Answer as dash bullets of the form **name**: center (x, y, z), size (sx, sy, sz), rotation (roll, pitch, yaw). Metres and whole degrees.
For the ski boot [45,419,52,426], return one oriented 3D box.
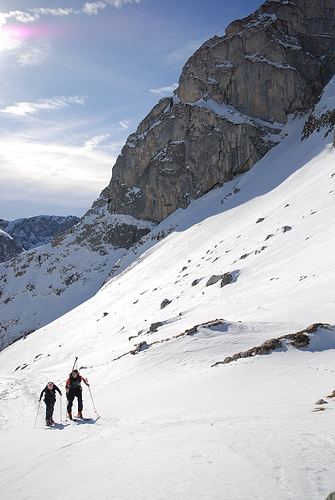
- **ski boot**: center (-5.991, 8.667, 32.771), size (0.339, 0.097, 0.256), rotation (2, 12, -43)
